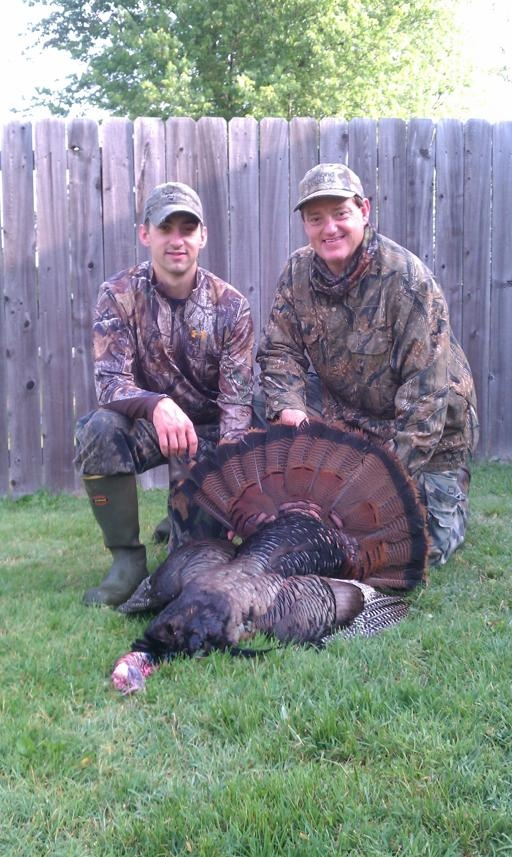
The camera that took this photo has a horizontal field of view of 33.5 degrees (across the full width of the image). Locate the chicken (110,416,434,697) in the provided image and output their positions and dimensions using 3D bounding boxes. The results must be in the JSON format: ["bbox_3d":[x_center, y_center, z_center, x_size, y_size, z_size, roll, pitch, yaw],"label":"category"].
[{"bbox_3d":[0.115,0.351,2.832,1.020,0.682,0.786,-1,6,-2],"label":"chicken"}]

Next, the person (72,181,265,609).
[{"bbox_3d":[-0.376,-0.164,3.965,0.817,1.864,1.042,-1,9,-1],"label":"person"}]

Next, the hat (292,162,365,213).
[{"bbox_3d":[0.327,-1.085,3.768,0.292,0.189,0.234,-1,6,3],"label":"hat"}]

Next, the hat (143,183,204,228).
[{"bbox_3d":[-0.383,-1.019,3.869,0.255,0.209,0.274,-2,6,-10],"label":"hat"}]

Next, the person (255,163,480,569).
[{"bbox_3d":[0.513,-0.415,4.103,0.828,2.022,0.985,1,2,27],"label":"person"}]
